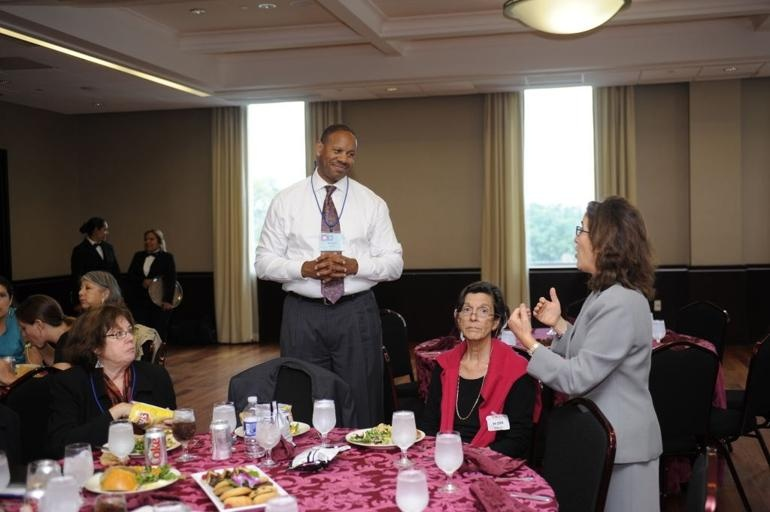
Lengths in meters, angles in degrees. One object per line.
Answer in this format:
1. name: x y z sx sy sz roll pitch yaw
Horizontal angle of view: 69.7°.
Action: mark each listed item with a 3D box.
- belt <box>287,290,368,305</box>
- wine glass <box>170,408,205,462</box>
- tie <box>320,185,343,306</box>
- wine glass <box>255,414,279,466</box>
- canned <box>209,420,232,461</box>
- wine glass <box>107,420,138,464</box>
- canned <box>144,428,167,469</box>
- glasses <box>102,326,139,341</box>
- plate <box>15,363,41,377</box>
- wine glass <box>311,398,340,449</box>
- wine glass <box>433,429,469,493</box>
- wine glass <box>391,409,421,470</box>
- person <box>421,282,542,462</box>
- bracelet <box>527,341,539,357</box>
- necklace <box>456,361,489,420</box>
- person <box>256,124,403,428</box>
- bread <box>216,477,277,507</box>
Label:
1. belt: -0.392 0.268 3.671 0.567 0.086 0.217 -2 3 7
2. wine glass: -0.929 0.798 2.561 0.104 0.236 0.236 -3 4 -23
3. tie: -0.354 -0.085 3.640 0.147 0.771 0.238 -2 4 -5
4. wine glass: -0.520 0.807 2.464 0.101 0.222 0.127 -3 4 -13
5. canned: -0.741 0.831 2.502 0.085 0.169 0.069 -3 4 -19
6. wine glass: -1.120 0.783 2.345 0.091 0.163 0.050 -1 4 7
7. canned: -0.986 0.818 2.378 0.088 0.160 0.130 -3 4 -26
8. glasses: -1.435 0.417 2.980 0.122 0.041 0.127 -18 -14 24
9. plate: -2.314 0.739 3.580 0.204 0.052 0.146 2 2 -37
10. wine glass: -0.288 0.774 2.626 0.098 0.223 0.269 -2 3 -9
11. wine glass: 0.261 0.816 2.261 0.101 0.232 0.208 -1 3 7
12. wine glass: 0.085 0.785 2.446 0.108 0.237 0.254 -2 3 2
13. person: 0.615 0.685 3.351 0.723 1.189 0.625 -6 -18 30
14. bracelet: 0.711 0.464 2.681 0.027 0.078 0.079 22 27 -6
15. necklace: 0.464 0.759 3.054 0.120 0.269 0.060 0 -16 33
16. person: -0.360 0.130 3.688 0.938 1.975 0.423 -2 4 0
17. bread: -0.544 0.906 2.151 0.255 0.076 0.167 -2 3 -8
